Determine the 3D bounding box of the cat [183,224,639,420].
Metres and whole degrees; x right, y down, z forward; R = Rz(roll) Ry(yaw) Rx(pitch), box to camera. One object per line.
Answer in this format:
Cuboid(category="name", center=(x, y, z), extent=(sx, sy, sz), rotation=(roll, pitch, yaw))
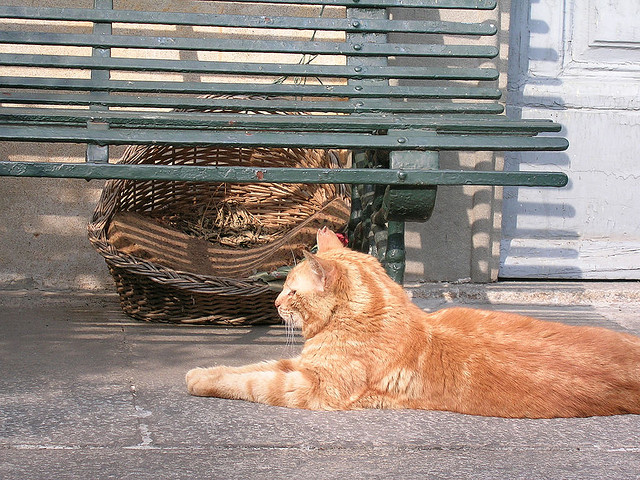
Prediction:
Cuboid(category="cat", center=(-0.007, 0.339, 3.567), extent=(2.237, 0.427, 0.525), rotation=(2, 5, 8))
